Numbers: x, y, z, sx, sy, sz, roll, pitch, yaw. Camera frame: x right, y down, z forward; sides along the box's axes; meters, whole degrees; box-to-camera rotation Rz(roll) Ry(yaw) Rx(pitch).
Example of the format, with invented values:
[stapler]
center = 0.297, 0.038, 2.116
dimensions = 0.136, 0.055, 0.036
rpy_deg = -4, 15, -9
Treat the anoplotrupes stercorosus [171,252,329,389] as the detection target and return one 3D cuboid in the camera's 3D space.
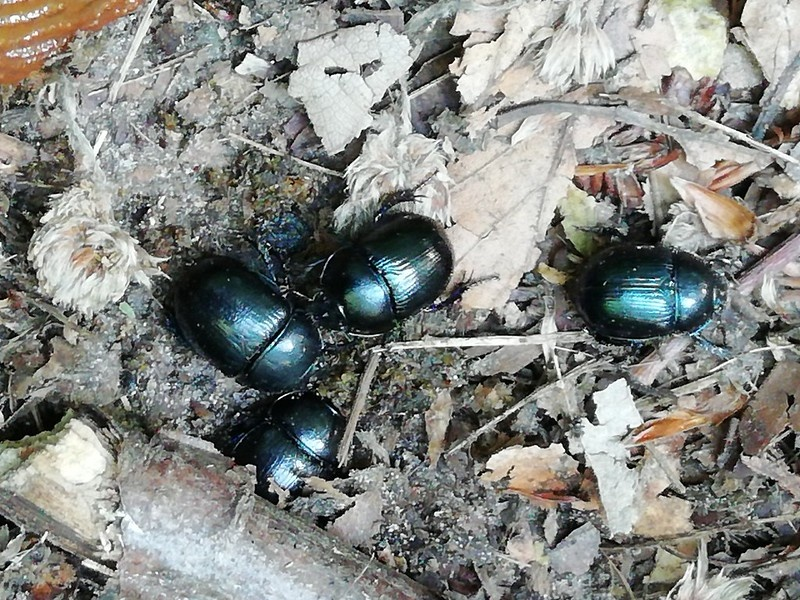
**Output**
[anoplotrupes stercorosus]
center = -0.786, 0.135, 4.009
dimensions = 0.773, 0.384, 0.500
rpy_deg = 37, 75, 8
